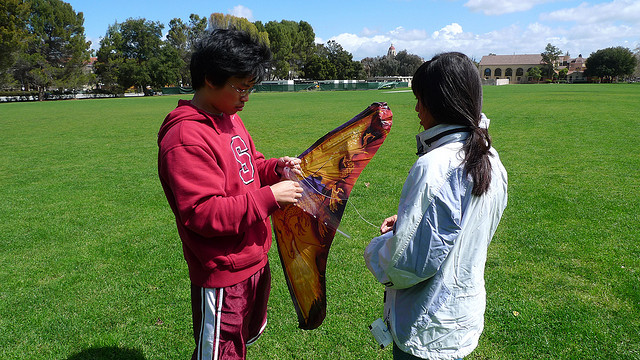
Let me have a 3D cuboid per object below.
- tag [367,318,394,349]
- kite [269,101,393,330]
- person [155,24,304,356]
[{"bbox_3d":[0.702,1.765,4.406,0.298,0.301,0.083,-39,-10,10],"label":"tag"},{"bbox_3d":[0.110,0.427,5.209,1.303,2.814,0.853,-12,18,-41],"label":"kite"},{"bbox_3d":[-1.096,0.157,4.565,1.449,3.836,0.968,-6,15,-25],"label":"person"}]
